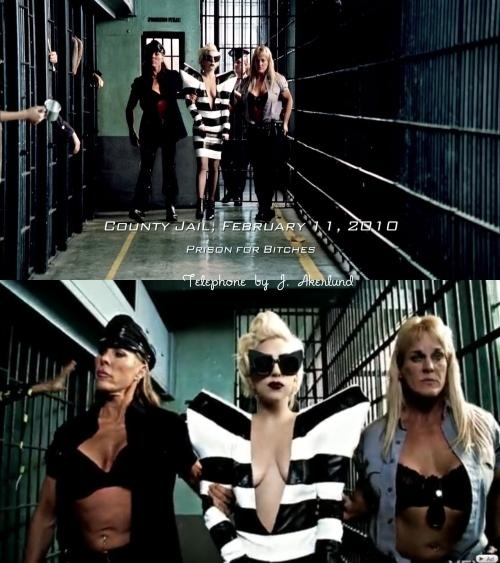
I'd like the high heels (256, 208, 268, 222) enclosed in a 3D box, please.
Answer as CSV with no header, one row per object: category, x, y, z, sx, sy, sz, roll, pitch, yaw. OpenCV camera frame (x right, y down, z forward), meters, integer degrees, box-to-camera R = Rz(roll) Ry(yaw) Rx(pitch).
high heels,0.072,-0.424,2.965,0.079,0.084,0.038,-2,6,-38

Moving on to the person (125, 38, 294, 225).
person,-0.294,-0.976,2.932,0.868,1.102,0.310,0,5,-4

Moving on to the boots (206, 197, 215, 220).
boots,-0.252,-0.460,2.947,0.042,0.121,0.114,0,-4,0

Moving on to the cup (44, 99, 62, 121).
cup,-1.337,-1.156,3.110,0.092,0.152,0.103,-6,-33,-15

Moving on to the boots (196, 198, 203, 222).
boots,-0.313,-0.465,2.947,0.035,0.147,0.054,-1,-20,2

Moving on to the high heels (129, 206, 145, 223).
high heels,-0.706,-0.418,2.890,0.050,0.066,0.152,18,23,-33

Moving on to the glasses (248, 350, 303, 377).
glasses,0.106,0.342,1.911,0.121,0.071,0.146,3,-41,-3

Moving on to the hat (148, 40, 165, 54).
hat,-0.566,-1.412,2.761,0.056,0.087,0.070,7,13,9

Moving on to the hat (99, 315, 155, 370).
hat,-0.576,0.293,2.198,0.187,0.124,0.253,6,-43,26
